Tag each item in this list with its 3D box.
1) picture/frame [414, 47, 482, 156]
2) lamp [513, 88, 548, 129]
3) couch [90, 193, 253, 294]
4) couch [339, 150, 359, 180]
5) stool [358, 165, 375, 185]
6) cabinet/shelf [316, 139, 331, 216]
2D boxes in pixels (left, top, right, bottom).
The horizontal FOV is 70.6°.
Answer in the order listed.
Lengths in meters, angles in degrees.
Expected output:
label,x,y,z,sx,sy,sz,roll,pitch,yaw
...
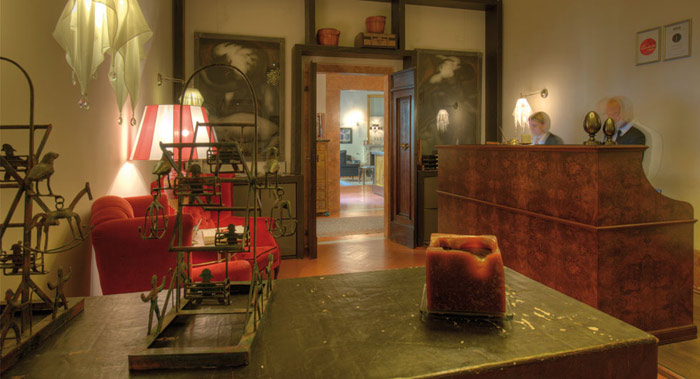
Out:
label,x,y,z,sx,sy,sz,roll,pitch,yaw
picture/frame,1.681,-1.461,8.282,1.282,1.704,0.246,-5,7,-17
lamp,2.686,-1.254,7.645,0.662,0.589,0.339,-3,6,-10
couch,-1.693,0.441,4.510,1.163,1.112,0.969,0,0,-15
couch,-0.024,-0.865,17.780,1.001,0.928,0.715,0,3,-4
stool,0.455,-0.494,17.348,0.609,0.755,0.700,0,-2,-16
cabinet/shelf,-0.570,-0.232,10.233,0.190,1.548,0.566,0,8,25
